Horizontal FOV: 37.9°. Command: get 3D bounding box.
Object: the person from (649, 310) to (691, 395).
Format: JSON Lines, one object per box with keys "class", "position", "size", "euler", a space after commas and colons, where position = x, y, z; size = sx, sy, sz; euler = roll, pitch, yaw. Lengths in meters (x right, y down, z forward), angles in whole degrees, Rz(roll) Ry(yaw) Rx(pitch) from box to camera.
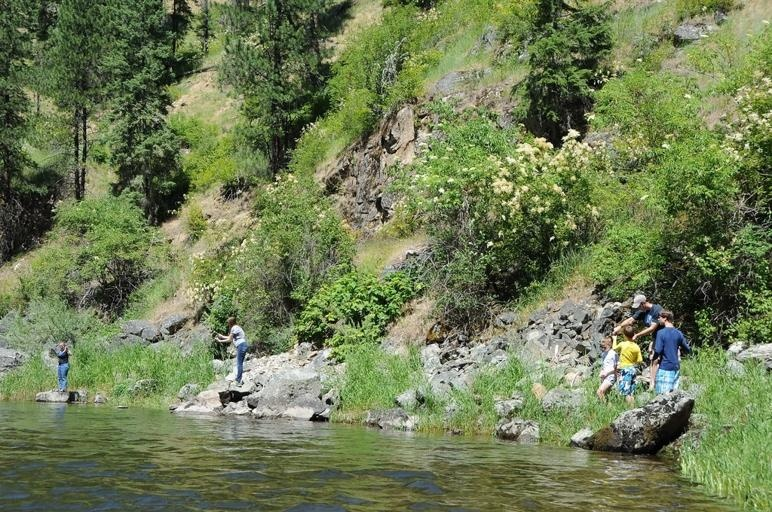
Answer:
{"class": "person", "position": [10.745, 3.575, 42.762], "size": [1.165, 3.133, 0.858], "euler": [2, -4, -23]}
